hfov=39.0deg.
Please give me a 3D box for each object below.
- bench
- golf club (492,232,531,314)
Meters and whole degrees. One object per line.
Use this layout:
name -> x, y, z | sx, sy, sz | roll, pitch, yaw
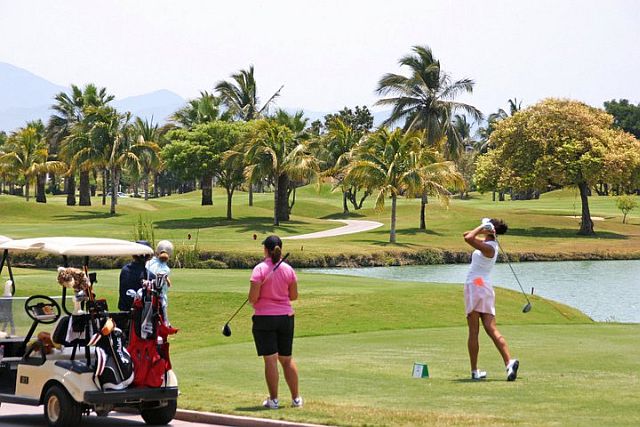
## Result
bench -> -5.537, 3.110, 20.568 | 3.155, 1.536, 1.156 | -3, -4, 43
golf club -> 4.905, 1.819, 22.420 | 0.329, 1.502, 0.298 | -17, 20, 24
